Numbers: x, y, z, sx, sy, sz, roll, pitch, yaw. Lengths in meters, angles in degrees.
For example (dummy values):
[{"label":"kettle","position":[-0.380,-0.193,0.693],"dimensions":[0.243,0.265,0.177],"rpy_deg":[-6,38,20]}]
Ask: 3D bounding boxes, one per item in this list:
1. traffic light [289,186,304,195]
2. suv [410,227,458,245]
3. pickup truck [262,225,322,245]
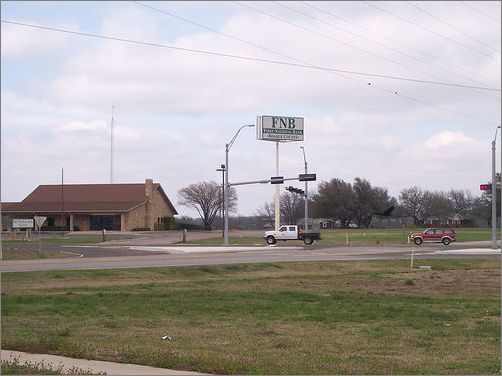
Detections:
[{"label":"traffic light","position":[3.616,0.322,85.347],"dimensions":[0.866,0.292,0.640],"rpy_deg":[11,0,39]},{"label":"suv","position":[15.742,4.263,93.017],"dimensions":[3.433,1.317,1.550],"rpy_deg":[2,-1,5]},{"label":"pickup truck","position":[3.537,4.087,91.808],"dimensions":[4.608,1.466,1.816],"rpy_deg":[1,-1,3]}]
